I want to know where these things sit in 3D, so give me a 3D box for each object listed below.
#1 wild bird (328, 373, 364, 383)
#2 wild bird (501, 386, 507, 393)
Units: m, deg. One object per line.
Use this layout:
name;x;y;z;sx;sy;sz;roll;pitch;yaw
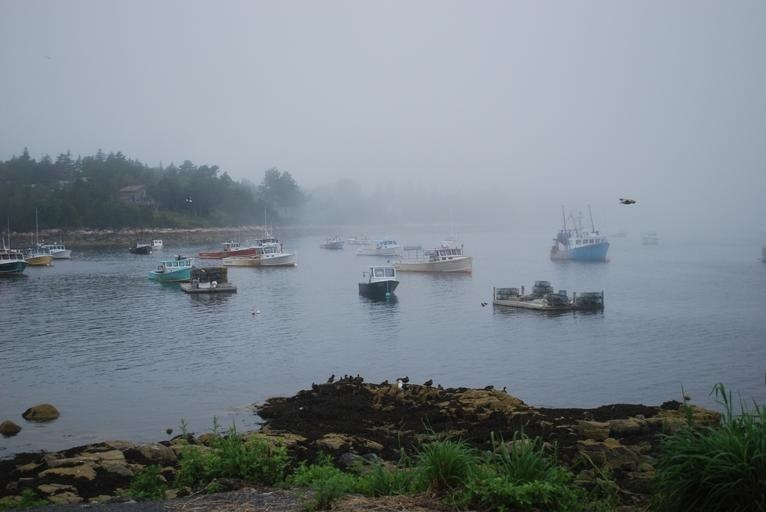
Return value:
wild bird;-1.938;7.184;44.218;0.839;0.398;1.206;-4;-7;40
wild bird;6.755;7.523;42.838;0.158;0.282;0.447;13;14;36
